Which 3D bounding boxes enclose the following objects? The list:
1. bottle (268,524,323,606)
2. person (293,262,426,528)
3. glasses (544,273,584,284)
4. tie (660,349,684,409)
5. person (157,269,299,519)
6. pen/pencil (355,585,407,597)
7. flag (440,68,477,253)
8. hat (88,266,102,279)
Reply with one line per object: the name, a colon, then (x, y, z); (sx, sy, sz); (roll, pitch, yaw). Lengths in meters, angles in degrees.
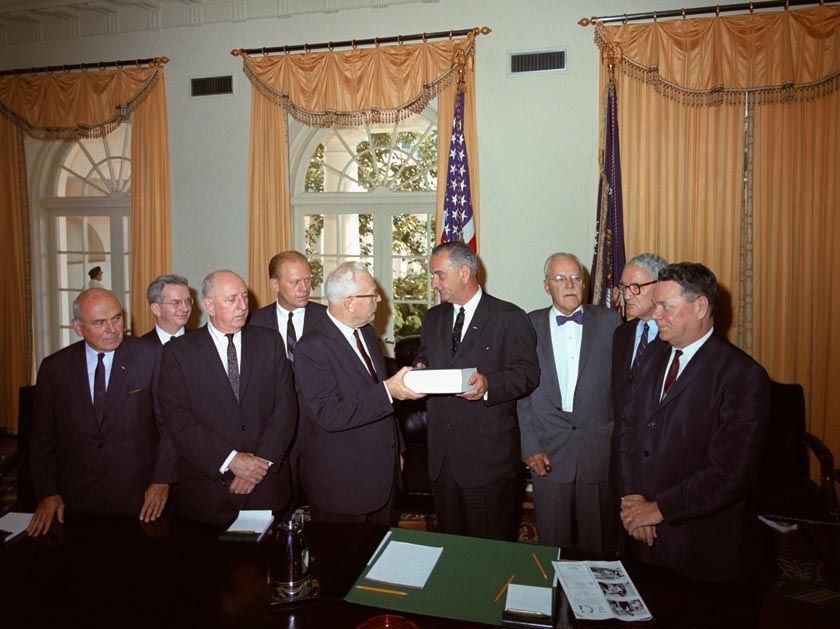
bottle: (-0.587, 1.105, 3.221); (0.228, 0.320, 0.270); (-3, 8, -15)
person: (-0.415, 0.525, 4.142); (0.646, 1.645, 0.665); (-2, 7, -10)
glasses: (0.943, -0.244, 4.603); (0.235, 0.056, 0.113); (1, 9, 12)
tie: (1.383, 0.329, 3.863); (0.056, 0.050, 0.423); (10, 48, 23)
person: (-1.137, 0.465, 4.200); (0.813, 1.442, 0.517); (-4, 8, -23)
pen/pencil: (-0.173, 1.252, 3.176); (0.226, 0.019, 0.020); (4, -10, 8)
flag: (0.346, -1.458, 6.651); (0.309, 1.641, 0.273); (-3, 7, -14)
hat: (-3.805, -0.483, 8.208); (0.100, 0.172, 0.058); (-2, 2, -4)
